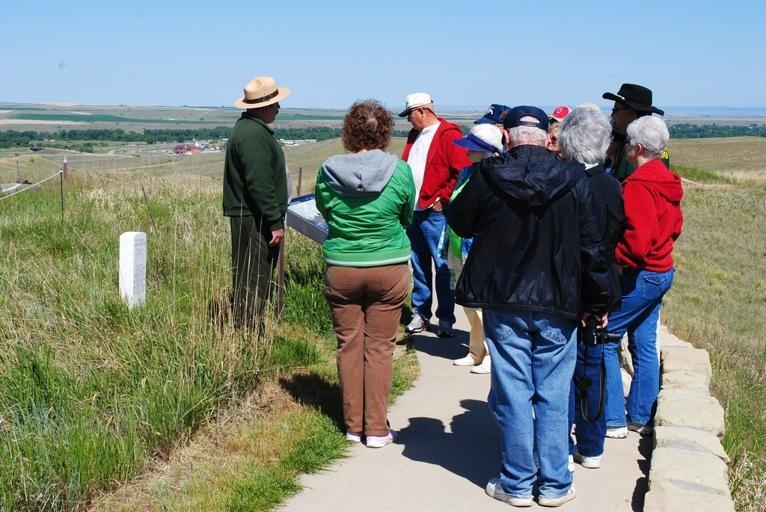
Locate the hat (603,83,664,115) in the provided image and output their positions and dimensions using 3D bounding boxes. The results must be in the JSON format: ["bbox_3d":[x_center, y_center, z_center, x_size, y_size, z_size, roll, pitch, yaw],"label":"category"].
[{"bbox_3d":[2.474,-1.534,6.065,0.602,0.264,0.674,18,18,7],"label":"hat"}]

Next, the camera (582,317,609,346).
[{"bbox_3d":[1.567,0.568,4.574,0.188,0.212,0.141,0,-1,-4],"label":"camera"}]

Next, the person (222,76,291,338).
[{"bbox_3d":[-1.207,-0.508,5.947,0.637,2.311,0.705,-5,14,-15],"label":"person"}]

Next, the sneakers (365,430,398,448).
[{"bbox_3d":[-0.015,1.514,5.237,0.097,0.122,0.278,7,11,43],"label":"sneakers"}]

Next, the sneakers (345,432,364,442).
[{"bbox_3d":[-0.246,1.513,5.206,0.131,0.059,0.068,6,-1,8],"label":"sneakers"}]

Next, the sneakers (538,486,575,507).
[{"bbox_3d":[1.282,1.771,4.584,0.295,0.135,0.114,0,2,-36],"label":"sneakers"}]

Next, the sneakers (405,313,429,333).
[{"bbox_3d":[0.396,0.823,7.403,0.142,0.193,0.359,-2,-6,32],"label":"sneakers"}]

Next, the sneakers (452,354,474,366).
[{"bbox_3d":[0.865,1.109,6.619,0.188,0.083,0.107,1,-4,-1],"label":"sneakers"}]

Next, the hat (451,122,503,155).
[{"bbox_3d":[0.804,-0.994,5.504,0.457,0.290,0.332,0,8,-9],"label":"hat"}]

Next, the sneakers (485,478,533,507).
[{"bbox_3d":[0.929,1.755,4.572,0.138,0.142,0.334,-3,14,-37],"label":"sneakers"}]

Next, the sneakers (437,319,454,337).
[{"bbox_3d":[0.738,0.853,7.314,0.147,0.168,0.366,1,-10,2],"label":"sneakers"}]
